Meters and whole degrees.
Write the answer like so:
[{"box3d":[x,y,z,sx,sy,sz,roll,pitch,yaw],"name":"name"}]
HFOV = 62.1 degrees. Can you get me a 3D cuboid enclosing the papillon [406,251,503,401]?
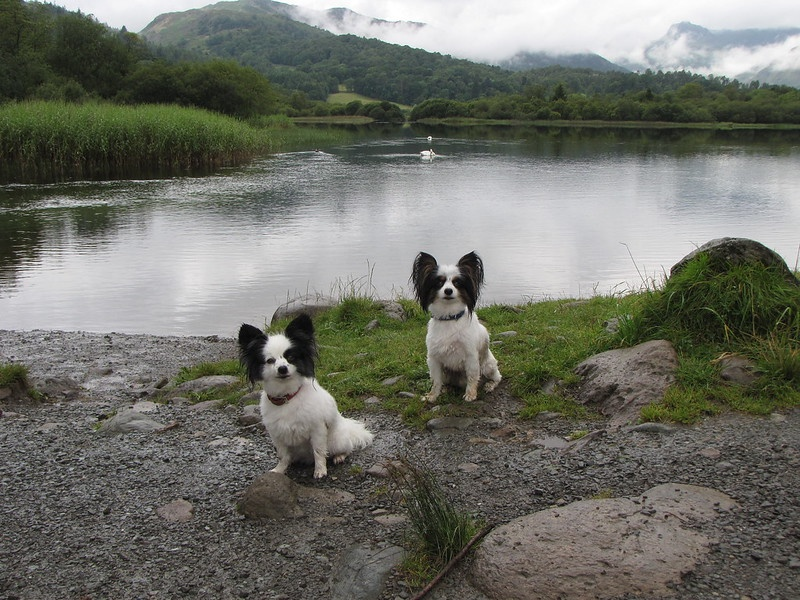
[{"box3d":[0.929,0.459,11.002,1.251,2.538,1.038,-3,12,-6],"name":"papillon"}]
